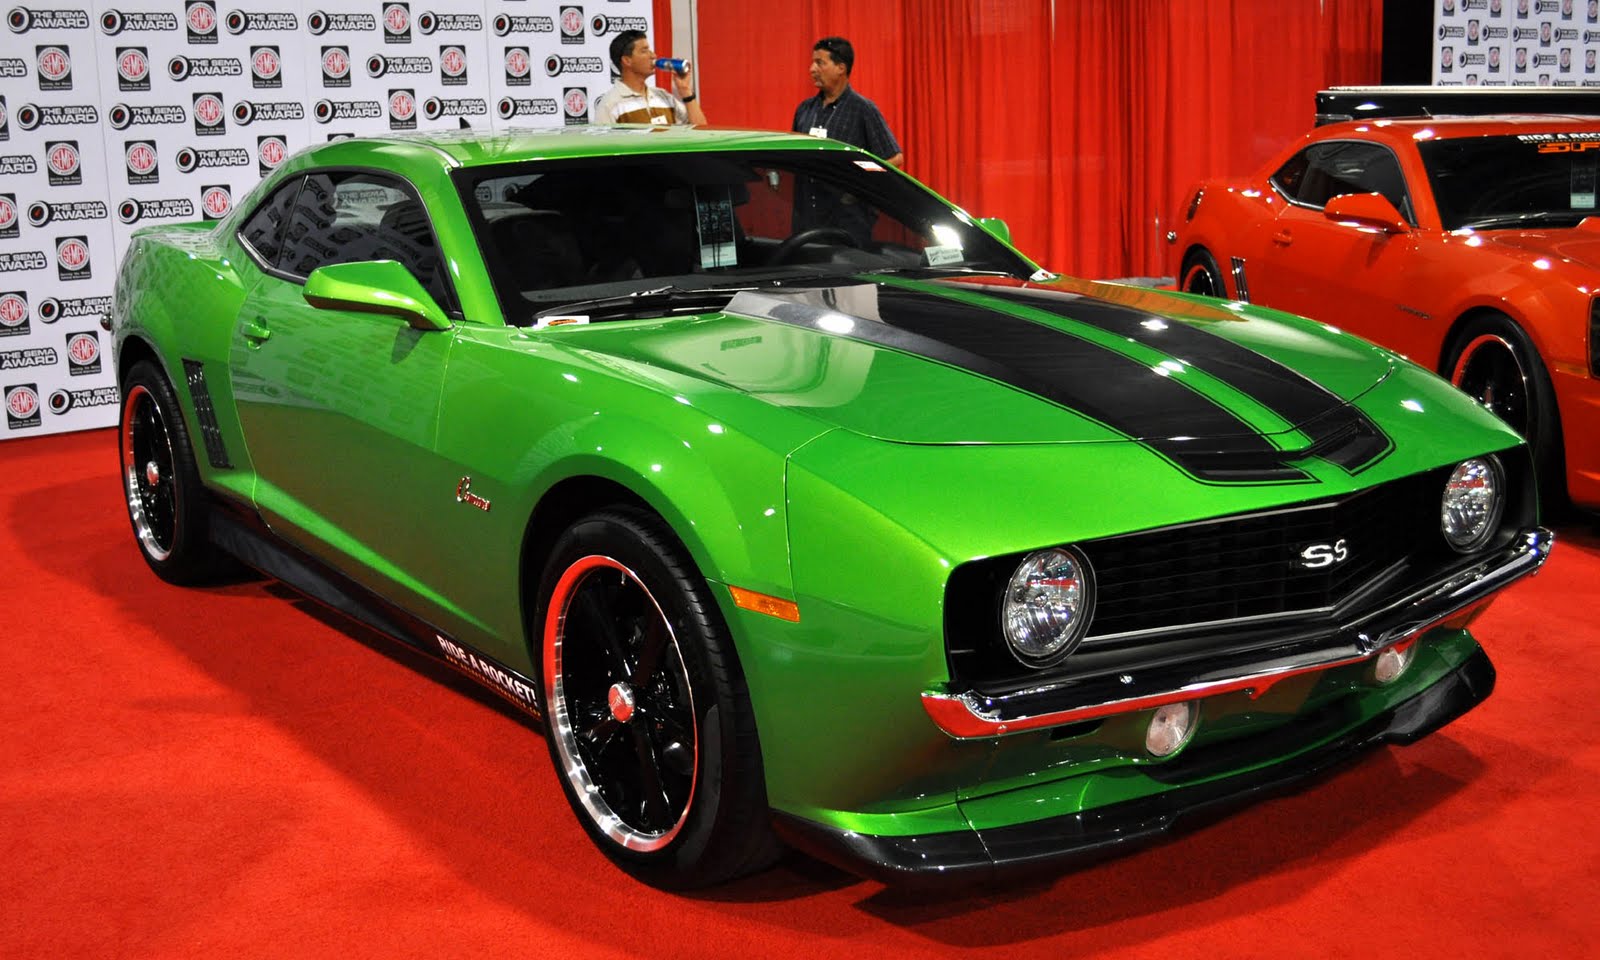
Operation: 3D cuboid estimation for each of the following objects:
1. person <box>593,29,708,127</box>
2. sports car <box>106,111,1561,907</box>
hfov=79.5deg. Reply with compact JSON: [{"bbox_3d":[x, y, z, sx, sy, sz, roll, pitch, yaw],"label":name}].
[{"bbox_3d":[-1.268,-3.202,7.940,0.632,0.933,0.872,29,45,27],"label":"person"},{"bbox_3d":[-0.632,-0.129,3.602,2.585,1.330,4.505,-7,13,-40],"label":"sports car"}]
